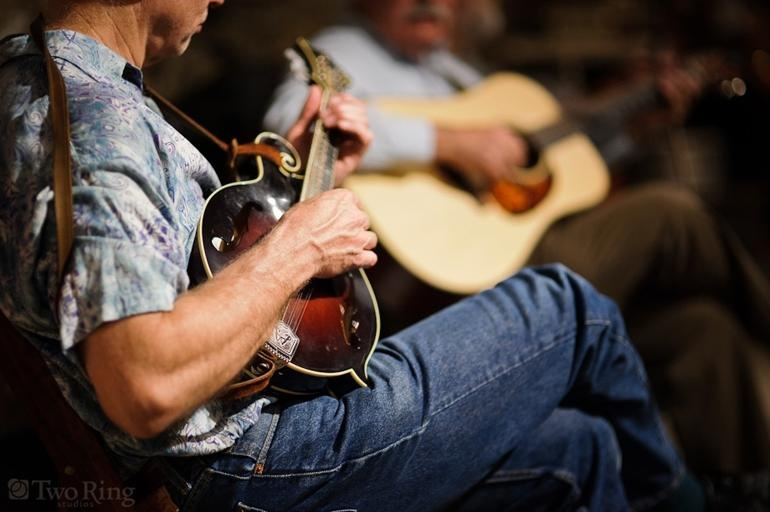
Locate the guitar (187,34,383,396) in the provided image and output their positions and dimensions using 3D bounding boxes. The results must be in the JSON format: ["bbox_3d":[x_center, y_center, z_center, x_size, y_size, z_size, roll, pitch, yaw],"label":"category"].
[{"bbox_3d":[-0.208,-0.098,2.099,0.331,0.122,0.803,44,25,-37],"label":"guitar"}]
